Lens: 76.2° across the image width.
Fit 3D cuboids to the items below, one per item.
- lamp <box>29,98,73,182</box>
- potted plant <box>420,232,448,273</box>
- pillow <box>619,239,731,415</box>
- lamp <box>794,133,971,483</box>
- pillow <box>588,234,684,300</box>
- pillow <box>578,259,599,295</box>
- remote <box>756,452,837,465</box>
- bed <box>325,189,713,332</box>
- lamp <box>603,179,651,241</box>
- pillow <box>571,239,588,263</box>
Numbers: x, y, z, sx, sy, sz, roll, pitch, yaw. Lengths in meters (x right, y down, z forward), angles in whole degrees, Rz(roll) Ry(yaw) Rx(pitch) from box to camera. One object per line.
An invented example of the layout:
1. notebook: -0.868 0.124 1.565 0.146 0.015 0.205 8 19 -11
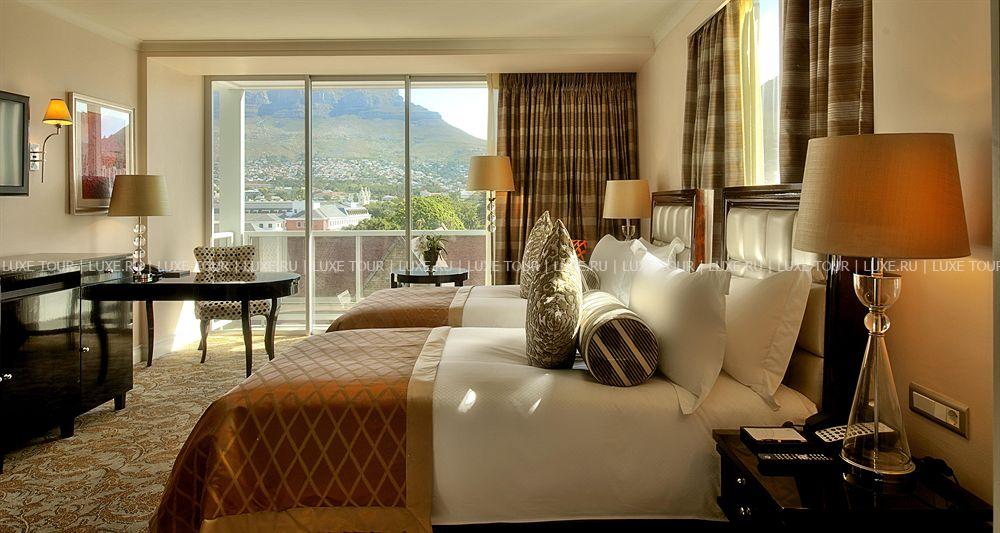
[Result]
1. lamp: -4.205 -1.195 6.005 0.262 0.783 0.457 0 7 14
2. potted plant: -0.722 -0.157 7.288 0.424 0.429 0.388 2 1 32
3. pillow: 1.180 0.436 4.236 0.348 0.695 1.177 2 6 -8
4. lamp: 2.128 0.204 3.557 0.864 1.882 0.339 -2 7 -2
5. pillow: 1.265 0.144 5.879 0.565 0.483 1.149 -8 5 -9
6. pillow: 0.858 0.097 6.145 0.213 0.279 0.302 -26 10 9
7. remote: 1.702 1.098 3.636 0.323 0.036 0.140 1 2 4
8. bed: -0.180 -0.140 6.114 2.369 1.209 1.671 0 7 -2
9. lamp: 1.459 -0.600 7.049 0.533 0.667 0.518 8 17 37
10. pillow: 0.825 -0.152 6.557 0.117 0.259 0.243 -7 11 15
